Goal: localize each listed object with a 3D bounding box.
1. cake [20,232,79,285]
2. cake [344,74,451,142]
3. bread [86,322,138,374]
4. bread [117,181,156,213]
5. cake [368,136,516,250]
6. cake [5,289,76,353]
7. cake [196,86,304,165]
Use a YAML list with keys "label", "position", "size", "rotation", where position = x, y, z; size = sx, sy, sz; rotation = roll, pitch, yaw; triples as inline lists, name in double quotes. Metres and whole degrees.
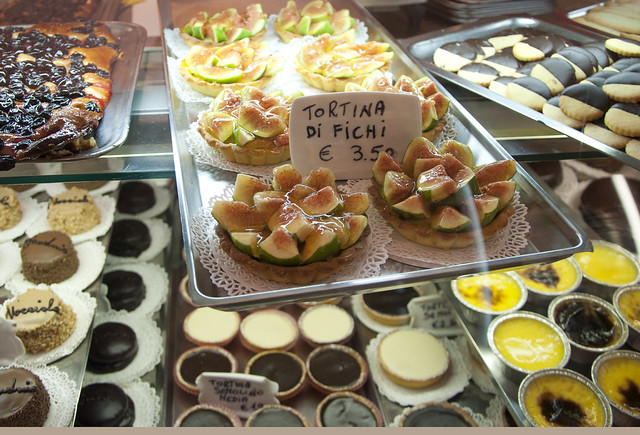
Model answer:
- label: "cake"
  position: [-1.408, 0.217, 2.471]
  size: [0.253, 0.162, 0.247]
  rotation: [-5, 44, -12]
- label: "cake"
  position: [0.449, -0.613, 2.322]
  size: [0.364, 0.155, 0.445]
  rotation: [0, 35, 5]
- label: "bread"
  position: [-1.023, 0.645, 2.310]
  size: [0.215, 0.049, 0.210]
  rotation: [2, 50, -4]
- label: "bread"
  position: [-1.108, -0.122, 2.829]
  size: [0.215, 0.047, 0.236]
  rotation: [-2, 51, -5]
- label: "cake"
  position: [0.483, -0.098, 1.875]
  size: [0.576, 0.169, 0.446]
  rotation: [13, 52, 7]
- label: "cake"
  position: [-1.350, 0.482, 2.256]
  size: [0.318, 0.148, 0.259]
  rotation: [38, 59, 24]
- label: "cake"
  position: [-0.355, -0.482, 2.261]
  size: [0.467, 0.169, 0.484]
  rotation: [6, 51, 2]
